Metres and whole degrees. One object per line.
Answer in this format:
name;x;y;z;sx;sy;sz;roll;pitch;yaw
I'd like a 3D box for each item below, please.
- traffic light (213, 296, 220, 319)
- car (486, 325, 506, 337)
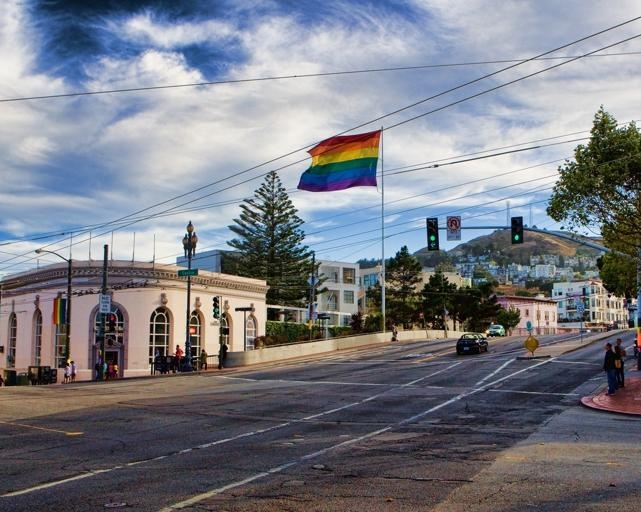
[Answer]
traffic light;-6.530;3.239;48.160;0.281;1.309;0.562;-4;-9;6
car;20.051;8.581;87.450;1.575;1.101;3.044;0;-1;25
